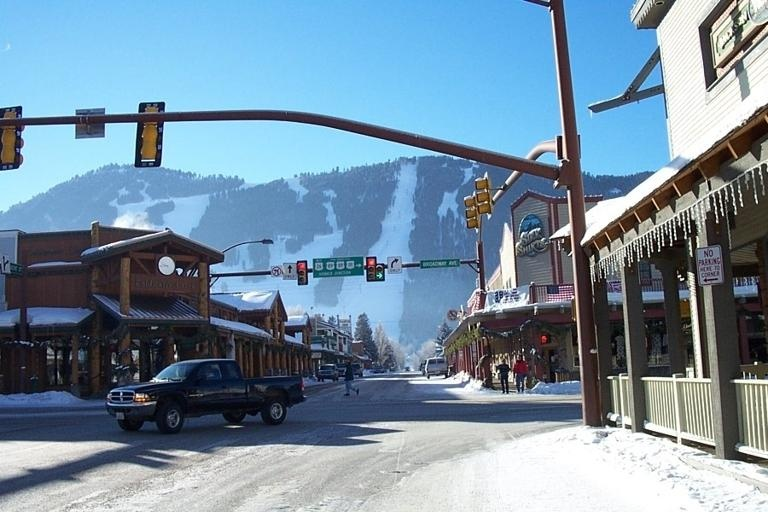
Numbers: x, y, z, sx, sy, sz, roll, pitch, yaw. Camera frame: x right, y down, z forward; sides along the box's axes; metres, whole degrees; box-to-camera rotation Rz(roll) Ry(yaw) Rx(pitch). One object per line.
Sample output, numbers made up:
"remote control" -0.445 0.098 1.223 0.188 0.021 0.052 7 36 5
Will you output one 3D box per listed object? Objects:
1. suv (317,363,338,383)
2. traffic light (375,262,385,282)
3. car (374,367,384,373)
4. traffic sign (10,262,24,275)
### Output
"suv" -5.729 11.896 75.045 1.799 2.182 5.085 -1 -16 -10
"traffic light" -0.250 0.995 45.314 0.786 0.937 0.855 -2 -4 19
"car" -0.834 19.914 128.959 1.254 1.238 2.706 -1 -15 -7
"traffic sign" -20.010 0.844 40.151 0.460 0.717 0.956 -4 -7 2
